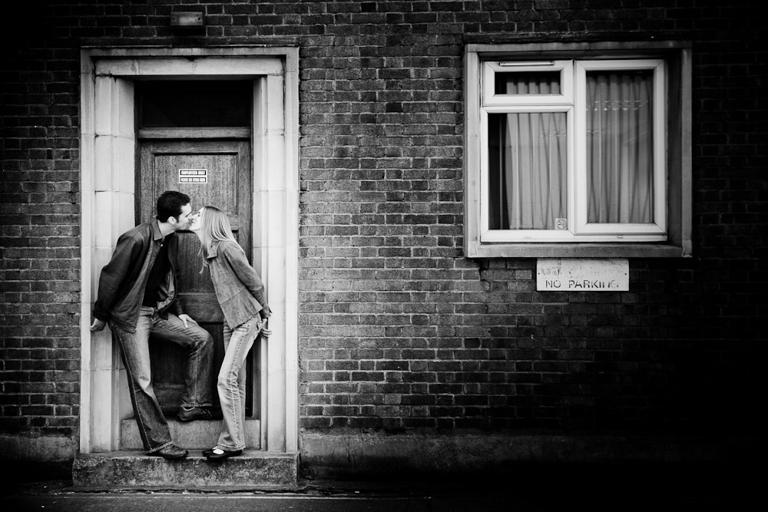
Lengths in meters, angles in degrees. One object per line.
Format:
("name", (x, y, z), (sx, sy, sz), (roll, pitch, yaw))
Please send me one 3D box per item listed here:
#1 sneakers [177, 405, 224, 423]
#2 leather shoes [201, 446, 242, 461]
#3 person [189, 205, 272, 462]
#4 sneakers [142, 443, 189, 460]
("sneakers", (-2.246, 1.887, 15.607), (0.587, 0.239, 0.206), (-2, 3, -20))
("leather shoes", (-1.900, 2.334, 15.113), (0.327, 0.092, 0.187), (5, -6, -13))
("person", (-1.768, 0.909, 15.104), (0.833, 2.957, 0.333), (1, -4, -6))
("sneakers", (-2.550, 2.293, 15.141), (0.506, 0.207, 0.195), (1, -2, 4))
